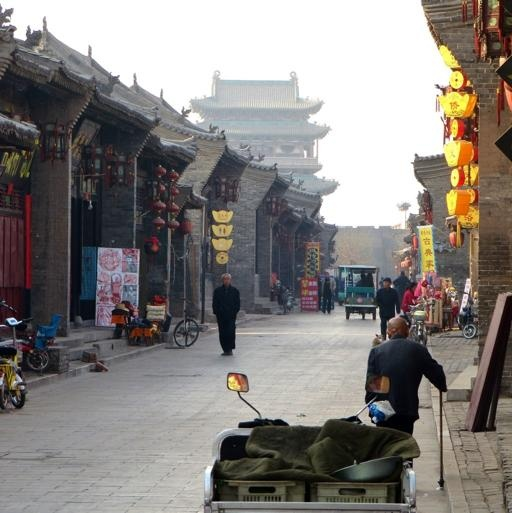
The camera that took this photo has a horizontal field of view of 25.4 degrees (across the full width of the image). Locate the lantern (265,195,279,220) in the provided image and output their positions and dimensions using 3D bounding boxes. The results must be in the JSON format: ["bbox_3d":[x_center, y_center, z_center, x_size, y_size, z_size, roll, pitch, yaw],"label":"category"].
[{"bbox_3d":[0.666,-2.085,48.840,0.648,0.867,0.513,-2,-3,3],"label":"lantern"}]

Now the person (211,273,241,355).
[{"bbox_3d":[-0.582,1.150,22.384,0.559,1.553,0.575,3,4,-1],"label":"person"}]

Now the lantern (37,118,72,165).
[{"bbox_3d":[-3.679,-2.070,20.726,0.373,0.799,0.380,6,8,12],"label":"lantern"}]

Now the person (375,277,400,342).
[{"bbox_3d":[2.849,1.059,24.677,0.648,1.967,0.888,0,0,10],"label":"person"}]

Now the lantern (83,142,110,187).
[{"bbox_3d":[-3.432,-1.978,24.110,0.623,0.839,0.657,0,0,-6],"label":"lantern"}]

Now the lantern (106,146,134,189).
[{"bbox_3d":[-3.001,-1.892,24.714,0.732,0.977,0.751,-1,-1,43],"label":"lantern"}]

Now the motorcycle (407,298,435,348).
[{"bbox_3d":[3.496,1.432,24.152,0.478,1.028,0.537,-2,6,-20],"label":"motorcycle"}]

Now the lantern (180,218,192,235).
[{"bbox_3d":[-1.909,-0.775,31.112,0.349,0.618,0.397,1,-3,5],"label":"lantern"}]

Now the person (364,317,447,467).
[{"bbox_3d":[1.165,1.201,10.405,0.652,1.196,0.938,10,2,21],"label":"person"}]
